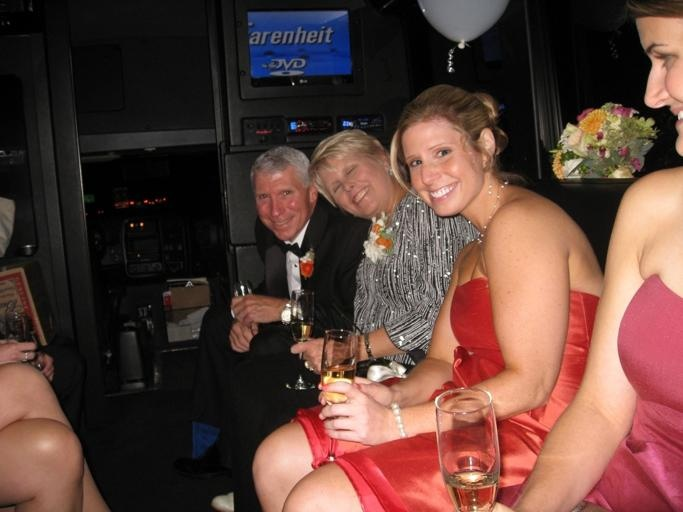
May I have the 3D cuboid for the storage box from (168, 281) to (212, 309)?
[{"bbox_3d":[-1.285,0.340,4.510,0.298,0.252,0.069,2,-12,-16],"label":"storage box"}]

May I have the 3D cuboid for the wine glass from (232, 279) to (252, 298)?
[{"bbox_3d":[-0.589,0.195,3.154,0.101,0.129,0.129,0,-2,-4],"label":"wine glass"}]

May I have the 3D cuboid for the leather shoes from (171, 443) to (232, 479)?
[{"bbox_3d":[-0.850,1.224,3.190,0.153,0.252,0.387,-35,-41,20],"label":"leather shoes"}]
